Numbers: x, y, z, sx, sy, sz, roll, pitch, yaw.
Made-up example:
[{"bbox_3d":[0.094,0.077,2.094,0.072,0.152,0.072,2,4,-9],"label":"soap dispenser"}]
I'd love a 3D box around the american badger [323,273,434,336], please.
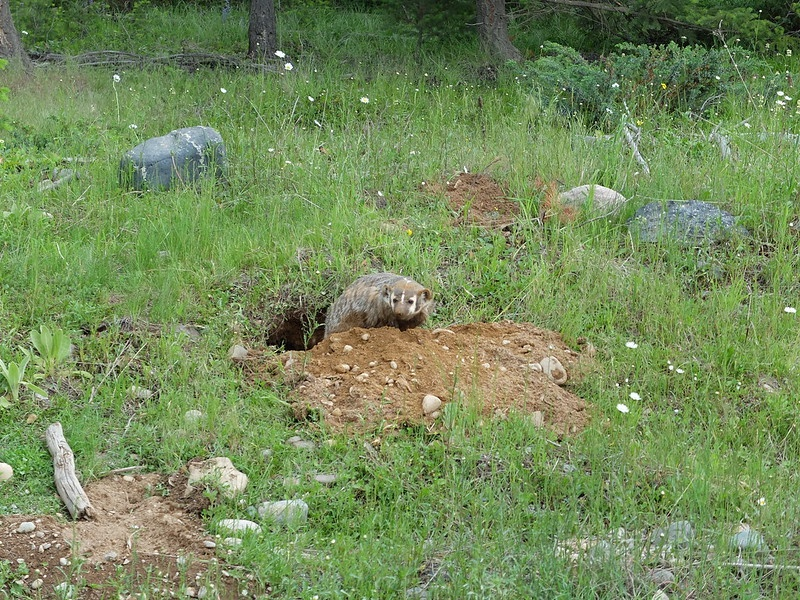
[{"bbox_3d":[-0.172,0.000,9.232,0.792,0.574,0.514,4,10,28],"label":"american badger"}]
